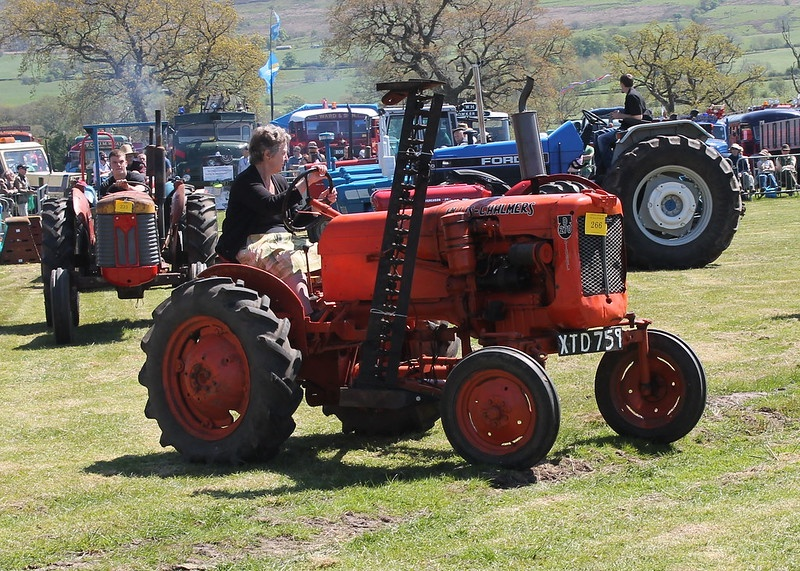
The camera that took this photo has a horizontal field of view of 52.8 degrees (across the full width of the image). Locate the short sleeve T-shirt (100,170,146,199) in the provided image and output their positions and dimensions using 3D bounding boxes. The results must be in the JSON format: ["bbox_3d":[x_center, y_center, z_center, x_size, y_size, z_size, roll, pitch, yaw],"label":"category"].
[{"bbox_3d":[-3.618,-1.332,10.451,0.485,0.191,0.637,-6,0,1],"label":"short sleeve T-shirt"}]

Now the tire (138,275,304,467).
[{"bbox_3d":[-1.289,0.634,5.967,0.510,1.476,1.531,-12,-5,18],"label":"tire"}]

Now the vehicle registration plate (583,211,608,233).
[{"bbox_3d":[1.296,-0.421,5.365,0.149,0.135,0.034,4,0,-35],"label":"vehicle registration plate"}]

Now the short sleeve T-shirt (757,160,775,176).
[{"bbox_3d":[10.961,-3.524,24.200,0.531,0.468,0.385,-11,12,5],"label":"short sleeve T-shirt"}]

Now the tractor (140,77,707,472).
[{"bbox_3d":[0.112,0.028,6.296,3.920,2.727,2.371,-1,3,29],"label":"tractor"}]

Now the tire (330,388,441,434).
[{"bbox_3d":[-0.129,0.947,6.042,0.601,0.204,0.516,0,-2,12],"label":"tire"}]

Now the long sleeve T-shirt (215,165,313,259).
[{"bbox_3d":[-1.165,-0.564,6.385,0.835,0.764,0.652,-5,2,20],"label":"long sleeve T-shirt"}]

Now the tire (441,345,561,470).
[{"bbox_3d":[0.636,0.784,5.081,0.683,0.647,0.215,17,8,25],"label":"tire"}]

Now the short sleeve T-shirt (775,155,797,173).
[{"bbox_3d":[11.694,-3.697,24.432,0.645,0.577,0.328,-1,-20,6],"label":"short sleeve T-shirt"}]

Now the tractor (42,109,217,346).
[{"bbox_3d":[-3.414,-0.867,10.213,2.231,2.330,3.365,-6,12,-19],"label":"tractor"}]

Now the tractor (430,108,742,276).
[{"bbox_3d":[2.758,-1.398,12.573,4.125,1.871,2.810,4,4,1],"label":"tractor"}]

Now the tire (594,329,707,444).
[{"bbox_3d":[1.723,0.713,5.590,0.782,0.814,0.248,3,7,32],"label":"tire"}]

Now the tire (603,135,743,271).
[{"bbox_3d":[3.749,-1.131,11.124,2.266,2.136,0.775,-2,-2,-2],"label":"tire"}]

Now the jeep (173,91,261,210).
[{"bbox_3d":[-7.574,-5.329,32.311,3.787,4.088,6.997,-5,10,-19],"label":"jeep"}]
